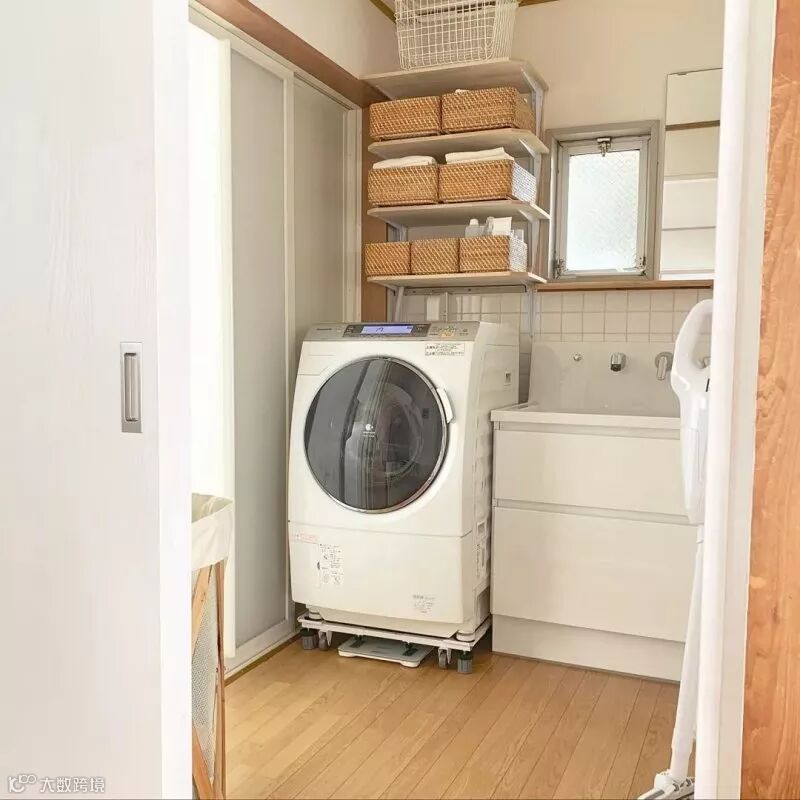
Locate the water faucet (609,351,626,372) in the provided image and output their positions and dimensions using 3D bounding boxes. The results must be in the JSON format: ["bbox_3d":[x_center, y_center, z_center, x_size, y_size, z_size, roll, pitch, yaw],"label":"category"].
[{"bbox_3d":[0.842,-0.146,2.587,0.044,0.090,0.074,-1,0,28],"label":"water faucet"}]

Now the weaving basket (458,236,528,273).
[{"bbox_3d":[0.335,-0.530,2.457,0.225,0.130,0.128,-1,4,-8],"label":"weaving basket"}]

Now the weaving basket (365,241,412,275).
[{"bbox_3d":[-0.048,-0.541,2.641,0.130,0.106,0.146,-1,0,6],"label":"weaving basket"}]

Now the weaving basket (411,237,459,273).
[{"bbox_3d":[0.131,-0.539,2.529,0.133,0.112,0.147,2,4,15],"label":"weaving basket"}]

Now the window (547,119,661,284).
[{"bbox_3d":[0.775,-0.737,2.576,0.397,0.653,0.043,2,45,16],"label":"window"}]

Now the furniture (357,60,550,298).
[{"bbox_3d":[0.215,-0.875,2.649,0.553,0.787,0.529,1,17,22],"label":"furniture"}]

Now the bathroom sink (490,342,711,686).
[{"bbox_3d":[0.725,0.338,2.413,0.678,1.102,0.569,1,4,28],"label":"bathroom sink"}]

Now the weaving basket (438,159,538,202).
[{"bbox_3d":[0.305,-0.795,2.442,0.176,0.099,0.261,1,1,23],"label":"weaving basket"}]
